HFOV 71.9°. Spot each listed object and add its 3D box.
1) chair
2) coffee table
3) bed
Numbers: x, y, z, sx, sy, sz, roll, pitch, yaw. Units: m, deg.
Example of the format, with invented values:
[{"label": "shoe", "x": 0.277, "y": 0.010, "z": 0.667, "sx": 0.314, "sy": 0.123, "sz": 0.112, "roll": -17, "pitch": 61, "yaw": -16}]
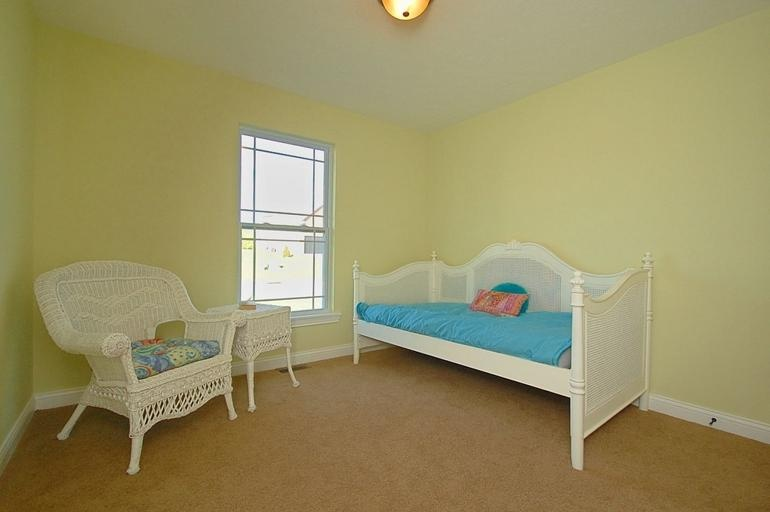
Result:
[{"label": "chair", "x": -2.109, "y": 0.815, "z": 4.653, "sx": 1.329, "sy": 1.587, "sz": 1.371, "roll": 2, "pitch": 6, "yaw": 36}, {"label": "coffee table", "x": -1.307, "y": 0.936, "z": 5.319, "sx": 0.759, "sy": 0.874, "sz": 0.794, "roll": -8, "pitch": 10, "yaw": -38}, {"label": "bed", "x": 1.057, "y": 0.712, "z": 5.565, "sx": 2.938, "sy": 1.709, "sz": 1.459, "roll": 6, "pitch": 7, "yaw": 45}]
